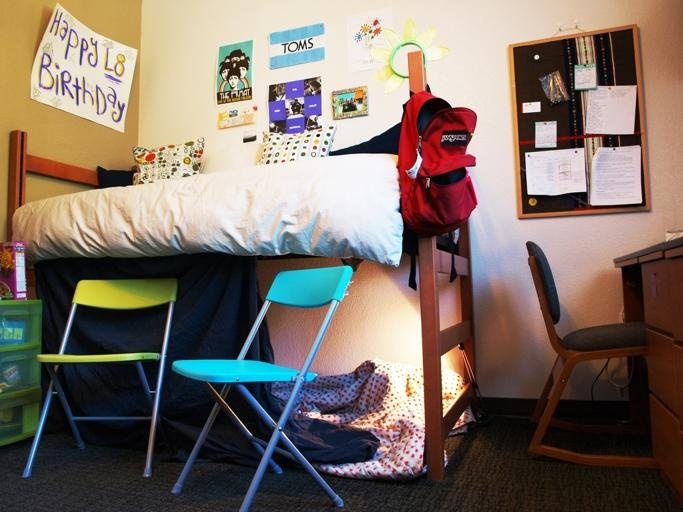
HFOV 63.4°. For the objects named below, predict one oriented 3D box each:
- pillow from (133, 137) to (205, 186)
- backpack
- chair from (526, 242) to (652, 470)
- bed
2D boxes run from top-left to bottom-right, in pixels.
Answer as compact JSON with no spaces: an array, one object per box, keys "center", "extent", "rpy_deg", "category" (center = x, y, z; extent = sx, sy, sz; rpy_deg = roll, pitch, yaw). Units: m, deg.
[{"center":[-1.194,-0.568,3.777],"extent":[0.431,0.135,0.461],"rpy_deg":[6,46,4],"category":"pillow"},{"center":[0.406,-0.401,2.374],"extent":[0.338,0.633,0.254],"rpy_deg":[2,11,18],"category":"backpack"},{"center":[1.221,0.436,2.668],"extent":[0.617,0.962,0.565],"rpy_deg":[-1,1,8],"category":"chair"},{"center":[-0.498,0.098,2.846],"extent":[2.228,1.907,0.790],"rpy_deg":[2,5,22],"category":"bed"}]
